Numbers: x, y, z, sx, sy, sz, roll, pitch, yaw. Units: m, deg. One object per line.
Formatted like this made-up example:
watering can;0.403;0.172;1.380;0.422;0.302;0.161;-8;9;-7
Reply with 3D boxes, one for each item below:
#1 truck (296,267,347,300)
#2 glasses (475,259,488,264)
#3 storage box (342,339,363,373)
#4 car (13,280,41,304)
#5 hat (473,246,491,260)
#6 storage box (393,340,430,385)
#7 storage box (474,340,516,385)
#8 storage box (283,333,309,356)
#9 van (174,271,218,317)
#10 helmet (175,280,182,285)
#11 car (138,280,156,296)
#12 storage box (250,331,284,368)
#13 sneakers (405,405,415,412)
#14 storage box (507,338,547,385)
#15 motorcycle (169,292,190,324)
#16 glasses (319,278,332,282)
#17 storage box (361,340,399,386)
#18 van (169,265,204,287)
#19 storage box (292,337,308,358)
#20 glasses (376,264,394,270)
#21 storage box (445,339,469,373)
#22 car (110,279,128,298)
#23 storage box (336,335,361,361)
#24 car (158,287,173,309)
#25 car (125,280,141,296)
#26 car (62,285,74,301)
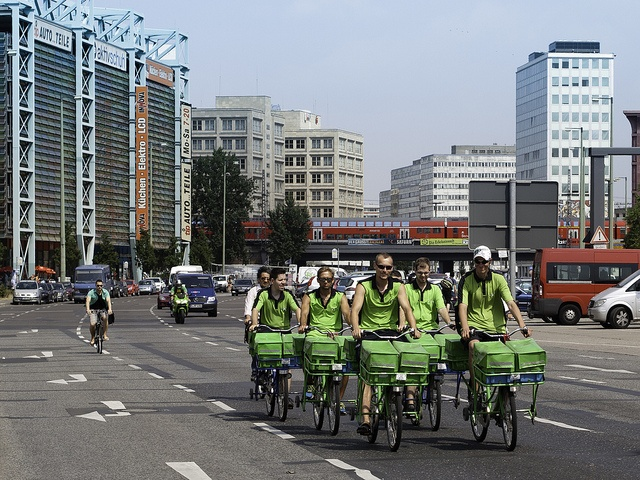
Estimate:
truck;-0.071;2.784;60.730;2.193;1.986;3.816;0;6;-6
glasses;2.026;0.276;13.357;0.195;0.065;0.084;-2;-4;42
storage box;0.402;1.483;13.627;0.275;0.271;0.385;1;-4;-8
car;-18.449;3.291;66.548;1.582;1.439;1.957;1;-3;-11
hat;2.064;0.164;13.427;0.149;0.137;0.247;-2;-1;18
storage box;1.131;1.501;13.100;0.413;0.412;0.574;-1;4;-12
storage box;2.102;1.491;12.893;0.453;0.354;0.461;0;6;-5
storage box;-0.388;1.471;14.734;0.252;0.238;0.335;0;-3;-2
van;-5.404;2.407;45.735;1.698;1.702;3.515;0;-6;-7
helmet;-5.885;1.741;43.985;0.223;0.295;0.130;-4;-2;-12
car;-15.967;4.325;97.317;1.300;1.363;2.916;1;-3;-3
storage box;-0.728;1.562;14.892;0.377;0.483;0.273;1;-3;-7
sneakers;1.108;2.071;13.134;0.085;0.043;0.117;1;-20;-1
storage box;2.543;1.464;12.877;0.474;0.301;0.483;-1;5;-8
motorcycle;-5.347;2.599;40.367;0.570;1.158;1.041;1;-3;-8
glasses;0.060;0.543;14.357;0.210;0.068;0.241;0;-3;7
storage box;0.720;1.488;13.004;0.461;0.352;0.488;1;9;-6
van;-8.703;1.974;66.967;1.745;1.610;2.904;-1;-8;-3
storage box;-0.293;1.466;14.584;0.234;0.414;0.230;2;3;0
glasses;0.833;0.340;13.255;0.241;0.063;0.227;2;-4;-20
storage box;1.753;1.479;13.574;0.280;0.304;0.408;1;3;-3
car;-16.075;3.880;84.852;0.964;0.861;2.135;0;-7;-5
storage box;0.355;1.395;13.644;0.401;0.281;0.244;1;5;-6
car;-8.204;3.026;54.888;1.222;1.091;2.694;0;-3;-7
car;-16.971;4.315;94.733;0.916;0.837;1.619;1;6;1
car;-18.157;3.661;75.897;0.799;0.837;1.709;0;-6;-6
